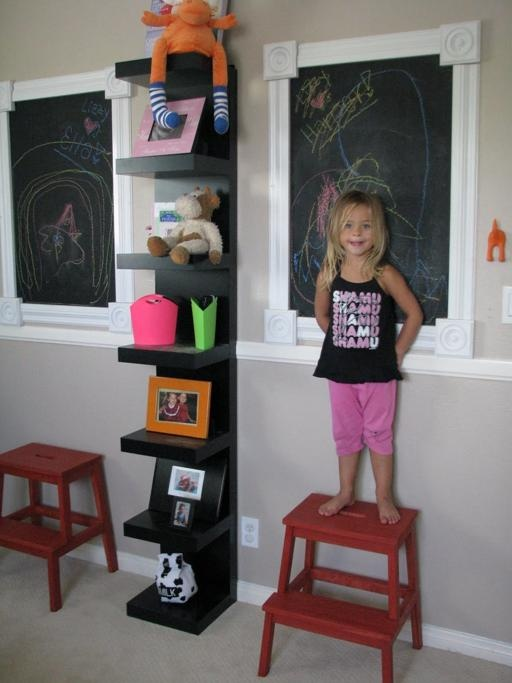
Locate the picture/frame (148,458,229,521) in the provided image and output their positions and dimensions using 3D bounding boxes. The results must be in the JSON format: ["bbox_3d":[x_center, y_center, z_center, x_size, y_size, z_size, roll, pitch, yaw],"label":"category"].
[{"bbox_3d":[-0.231,0.474,2.012,0.245,0.219,0.088,9,19,-7],"label":"picture/frame"}]

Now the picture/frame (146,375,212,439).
[{"bbox_3d":[-0.251,0.223,1.922,0.181,0.161,0.014,4,-6,26],"label":"picture/frame"}]

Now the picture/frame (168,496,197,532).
[{"bbox_3d":[-0.240,0.570,1.896,0.086,0.111,0.008,-2,-32,13],"label":"picture/frame"}]

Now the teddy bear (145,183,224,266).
[{"bbox_3d":[-0.210,-0.369,1.785,0.206,0.256,0.231,9,12,40],"label":"teddy bear"}]

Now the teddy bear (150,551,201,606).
[{"bbox_3d":[-0.287,0.788,1.920,0.118,0.172,0.166,-5,-11,8],"label":"teddy bear"}]
